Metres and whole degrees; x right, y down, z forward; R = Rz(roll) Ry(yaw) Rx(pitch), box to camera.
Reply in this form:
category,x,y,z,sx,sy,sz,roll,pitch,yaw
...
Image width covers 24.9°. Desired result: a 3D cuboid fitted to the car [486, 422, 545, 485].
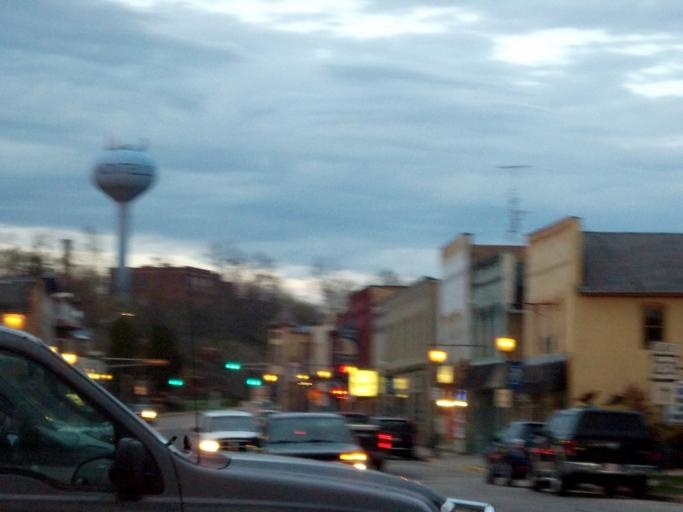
category,x,y,z,sx,sy,sz,roll,pitch,yaw
car,4.755,5.645,44.167,1.984,1.634,1.836,-5,-7,-2

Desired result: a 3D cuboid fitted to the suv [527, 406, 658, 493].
category,x,y,z,sx,sy,sz,roll,pitch,yaw
suv,6.700,5.278,41.332,3.305,2.357,1.459,-2,-9,12

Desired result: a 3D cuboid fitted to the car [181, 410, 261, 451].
category,x,y,z,sx,sy,sz,roll,pitch,yaw
car,-3.257,4.852,43.458,1.908,0.952,2.993,2,-11,-20
